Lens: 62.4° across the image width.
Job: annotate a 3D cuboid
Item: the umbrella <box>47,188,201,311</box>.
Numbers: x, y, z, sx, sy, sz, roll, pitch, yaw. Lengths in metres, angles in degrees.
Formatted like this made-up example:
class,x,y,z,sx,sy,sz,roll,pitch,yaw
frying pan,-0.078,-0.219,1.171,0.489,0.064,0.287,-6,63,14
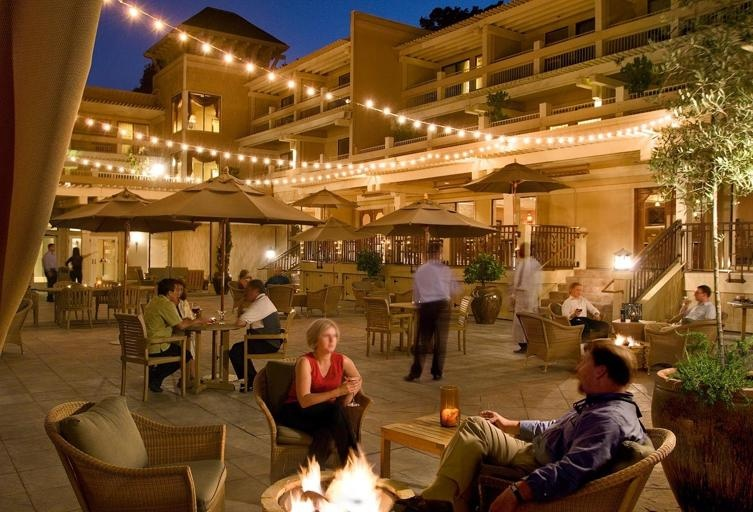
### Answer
class,x,y,z,sx,sy,sz,roll,pitch,yaw
umbrella,-5.407,-0.351,12.969,2.638,1.944,2.653,-2,1,-3

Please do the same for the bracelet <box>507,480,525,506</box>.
class,x,y,z,sx,sy,sz,roll,pitch,yaw
bracelet,0.851,1.429,3.763,0.080,0.123,0.131,-8,12,-8

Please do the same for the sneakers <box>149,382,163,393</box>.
class,x,y,z,sx,sy,sz,roll,pitch,yaw
sneakers,-3.000,1.793,8.431,0.075,0.100,0.220,0,-4,-45

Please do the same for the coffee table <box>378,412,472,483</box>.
class,x,y,z,sx,sy,sz,roll,pitch,yaw
coffee table,0.410,1.604,5.223,0.549,0.541,0.560,4,-1,42

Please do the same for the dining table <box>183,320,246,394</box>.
class,x,y,z,sx,sy,sz,roll,pitch,yaw
dining table,-2.361,1.470,8.930,1.040,1.061,1.014,1,-1,-22

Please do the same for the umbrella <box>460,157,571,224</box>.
class,x,y,z,sx,sy,sz,roll,pitch,yaw
umbrella,3.139,-1.717,14.360,1.783,1.378,1.840,-1,0,27

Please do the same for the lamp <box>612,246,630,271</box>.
class,x,y,z,sx,sy,sz,roll,pitch,yaw
lamp,5.697,0.073,14.539,0.501,0.632,0.534,-2,-2,45

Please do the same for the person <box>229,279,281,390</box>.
class,x,y,z,sx,sy,sz,roll,pitch,yaw
person,-1.707,1.067,8.810,0.726,1.497,0.646,0,4,-9

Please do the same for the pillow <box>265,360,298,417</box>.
class,x,y,z,sx,sy,sz,roll,pitch,yaw
pillow,-0.864,1.169,5.556,0.385,0.408,0.161,4,-4,-5

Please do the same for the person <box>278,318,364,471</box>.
class,x,y,z,sx,sy,sz,roll,pitch,yaw
person,-0.481,1.144,5.363,0.718,1.193,0.539,2,-2,-11

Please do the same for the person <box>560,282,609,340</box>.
class,x,y,z,sx,sy,sz,roll,pitch,yaw
person,3.639,1.067,10.919,0.611,1.173,0.786,-2,2,-26

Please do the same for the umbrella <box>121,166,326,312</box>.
class,x,y,z,sx,sy,sz,roll,pitch,yaw
umbrella,-2.214,-0.308,9.338,2.078,1.525,2.104,1,-1,0

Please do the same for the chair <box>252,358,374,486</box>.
class,x,y,z,sx,sy,sz,roll,pitch,yaw
chair,-0.678,1.403,5.617,1.051,1.109,0.982,3,-8,-20

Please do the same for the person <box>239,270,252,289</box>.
class,x,y,z,sx,sy,sz,roll,pitch,yaw
person,-3.149,0.562,14.750,0.246,0.720,0.233,-6,27,-22

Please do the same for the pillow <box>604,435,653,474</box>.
class,x,y,z,sx,sy,sz,roll,pitch,yaw
pillow,1.603,1.228,3.859,0.221,0.193,0.213,11,-16,-23

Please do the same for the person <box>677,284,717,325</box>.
class,x,y,z,sx,sy,sz,roll,pitch,yaw
person,5.300,0.826,10.214,0.438,0.684,0.764,6,-2,-9

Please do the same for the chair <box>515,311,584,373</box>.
class,x,y,z,sx,sy,sz,roll,pitch,yaw
chair,2.932,1.397,10.274,1.041,0.974,0.911,-4,5,-27

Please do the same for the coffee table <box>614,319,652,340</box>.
class,x,y,z,sx,sy,sz,roll,pitch,yaw
coffee table,4.258,1.227,10.441,0.358,0.282,0.397,3,-8,-10

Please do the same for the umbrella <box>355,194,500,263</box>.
class,x,y,z,sx,sy,sz,roll,pitch,yaw
umbrella,0.961,-0.449,10.958,2.013,1.070,2.095,2,-3,-8
